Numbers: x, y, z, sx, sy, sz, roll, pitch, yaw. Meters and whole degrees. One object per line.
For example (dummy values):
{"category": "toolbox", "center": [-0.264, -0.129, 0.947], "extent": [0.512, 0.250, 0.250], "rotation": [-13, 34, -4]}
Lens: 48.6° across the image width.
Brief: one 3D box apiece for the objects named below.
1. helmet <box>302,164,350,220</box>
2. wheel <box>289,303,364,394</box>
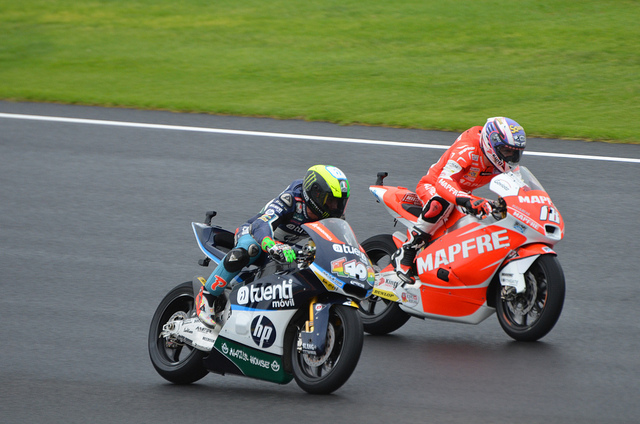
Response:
{"category": "helmet", "center": [0.143, -0.223, 7.008], "extent": [0.559, 0.438, 0.516], "rotation": [0, 27, -13]}
{"category": "wheel", "center": [0.047, 1.237, 6.465], "extent": [0.257, 0.868, 0.720], "rotation": [22, 49, -46]}
